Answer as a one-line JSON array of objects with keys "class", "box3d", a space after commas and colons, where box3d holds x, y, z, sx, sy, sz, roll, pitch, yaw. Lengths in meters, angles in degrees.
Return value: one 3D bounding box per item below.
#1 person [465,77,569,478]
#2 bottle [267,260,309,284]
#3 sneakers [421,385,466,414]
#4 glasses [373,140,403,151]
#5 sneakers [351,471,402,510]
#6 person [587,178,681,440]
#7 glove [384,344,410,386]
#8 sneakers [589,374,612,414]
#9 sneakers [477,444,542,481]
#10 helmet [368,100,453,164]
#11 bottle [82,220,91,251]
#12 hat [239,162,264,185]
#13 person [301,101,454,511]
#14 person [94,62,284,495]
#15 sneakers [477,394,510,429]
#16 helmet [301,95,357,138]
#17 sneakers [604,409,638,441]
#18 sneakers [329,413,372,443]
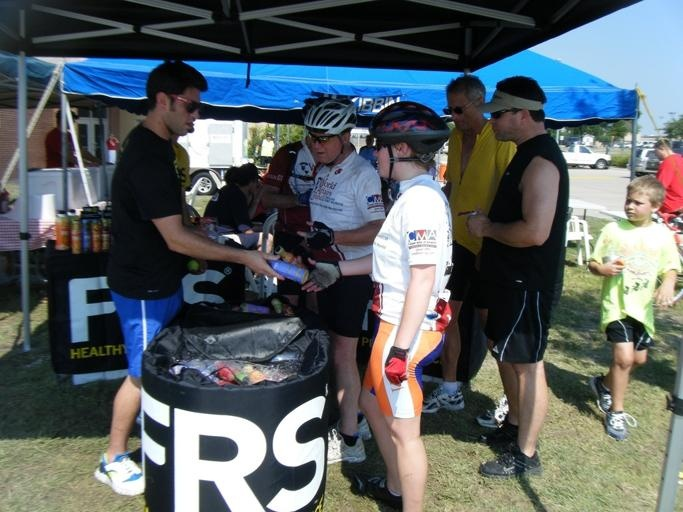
[{"class": "person", "box3d": [1.280, 0.181, 3.824, 0.645, 2.914, 0.555, 10, 15, 36]}, {"class": "bottle", "box3d": [-0.347, 0.098, 3.560, 0.337, 0.116, 0.110, 24, 3, -16]}, {"class": "sneakers", "box3d": [0.946, 1.304, 4.730, 0.464, 0.219, 0.167, 0, 4, -5]}, {"class": "glasses", "box3d": [0.272, -0.697, 3.216, 0.125, 0.045, 0.091, 1, 9, 9]}, {"class": "sneakers", "box3d": [0.247, 1.636, 3.729, 0.399, 0.169, 0.145, 23, 19, 21]}, {"class": "person", "box3d": [2.560, 0.569, 4.547, 0.670, 1.859, 0.747, -3, 12, -18]}, {"class": "glove", "box3d": [0.311, 0.616, 2.935, 0.161, 0.198, 0.087, 2, -5, 13]}, {"class": "sneakers", "box3d": [2.395, 1.243, 4.712, 0.120, 0.317, 0.144, -11, -11, -29]}, {"class": "sneakers", "box3d": [1.289, 1.590, 4.019, 0.501, 0.216, 0.199, 1, -2, 0]}, {"class": "helmet", "box3d": [0.433, -0.786, 3.213, 0.420, 0.272, 0.352, 14, 26, 13]}, {"class": "bottle", "box3d": [-2.331, -0.193, 4.721, 0.085, 0.293, 0.050, -5, 13, -25]}, {"class": "hat", "box3d": [-1.380, -1.240, 7.885, 0.286, 0.360, 0.377, 2, 11, 6]}, {"class": "person", "box3d": [0.415, 0.422, 3.239, 0.534, 2.709, 0.656, -1, 12, -10]}, {"class": "person", "box3d": [-1.280, 0.173, 3.572, 0.979, 2.970, 0.705, -5, 13, -27]}, {"class": "sneakers", "box3d": [1.414, 1.386, 4.613, 0.454, 0.200, 0.156, 7, 2, -27]}, {"class": "helmet", "box3d": [-0.043, -1.045, 3.941, 0.292, 0.203, 0.405, 9, 35, 13]}, {"class": "sneakers", "box3d": [2.458, 1.412, 4.532, 0.420, 0.213, 0.186, -10, 16, -42]}, {"class": "sneakers", "box3d": [0.034, 1.418, 4.295, 0.457, 0.195, 0.151, 5, -11, -44]}]
